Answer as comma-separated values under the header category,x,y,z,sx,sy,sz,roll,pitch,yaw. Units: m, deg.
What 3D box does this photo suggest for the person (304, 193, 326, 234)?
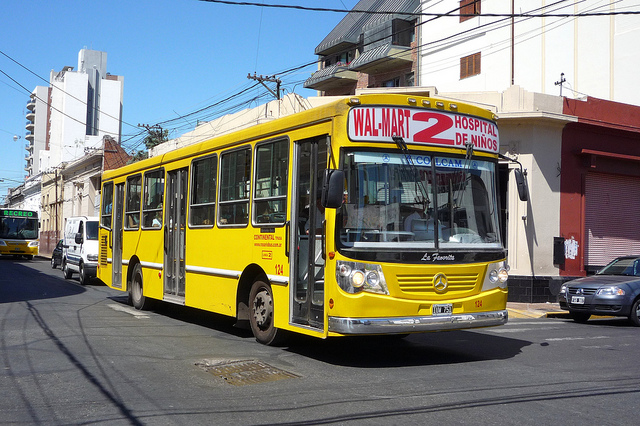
category,x,y,z,sx,sy,sz,roll,pitch,yaw
person,-0.099,0.018,11.596,0.162,0.816,0.671,0,3,-36
